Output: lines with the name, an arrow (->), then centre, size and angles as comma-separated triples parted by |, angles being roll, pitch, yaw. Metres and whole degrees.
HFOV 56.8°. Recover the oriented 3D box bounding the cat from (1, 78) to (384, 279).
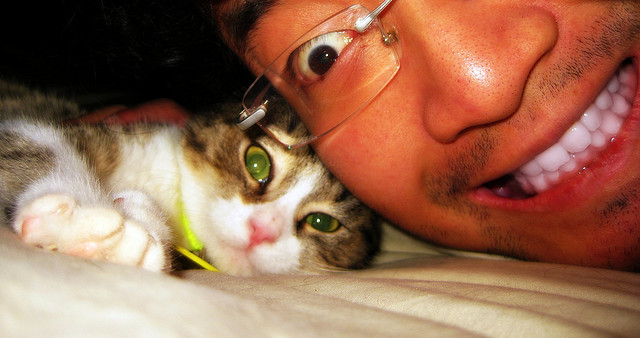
cat -> -0.436, 0.052, 2.107 | 1.247, 0.722, 0.737 | 11, 2, -45
